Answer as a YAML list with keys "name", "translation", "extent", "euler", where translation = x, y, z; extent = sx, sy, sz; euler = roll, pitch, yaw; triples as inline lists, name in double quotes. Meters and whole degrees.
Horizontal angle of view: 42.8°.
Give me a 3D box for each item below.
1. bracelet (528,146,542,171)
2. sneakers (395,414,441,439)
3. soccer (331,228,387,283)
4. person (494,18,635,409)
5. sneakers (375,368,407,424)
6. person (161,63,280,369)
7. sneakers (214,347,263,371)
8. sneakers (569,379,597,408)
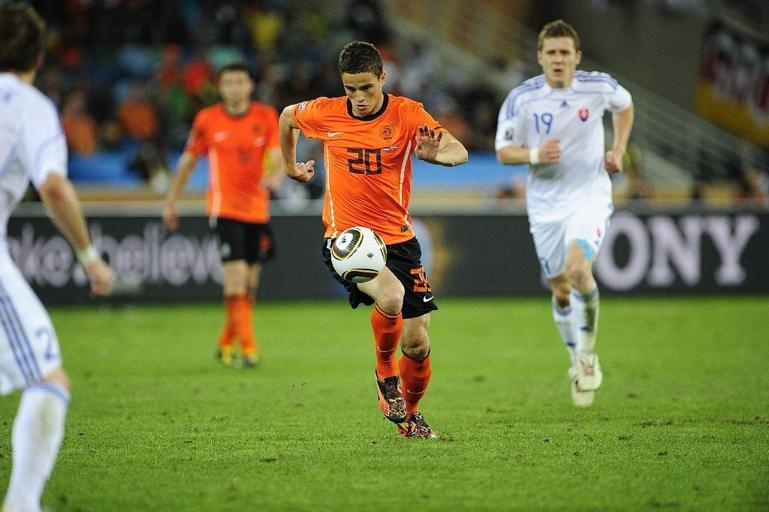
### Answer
- name: "bracelet"
  translation: [1.287, -0.827, 8.314]
  extent: [0.140, 0.163, 0.149]
  euler: [-2, 5, -11]
- name: "sneakers"
  translation: [0.255, 1.351, 7.700]
  extent: [0.321, 0.179, 0.137]
  euler: [1, -2, 8]
- name: "soccer"
  translation: [-0.182, -0.009, 7.712]
  extent: [0.392, 0.447, 0.401]
  euler: [0, -6, 9]
- name: "person"
  translation: [1.533, -0.413, 8.465]
  extent: [1.026, 3.175, 0.994]
  euler: [2, 8, 22]
- name: "sneakers"
  translation: [0.033, 1.132, 7.799]
  extent: [0.145, 0.453, 0.185]
  euler: [-7, -29, -15]
- name: "person"
  translation: [-1.479, -0.438, 10.147]
  extent: [0.994, 3.071, 1.033]
  euler: [-5, 9, -30]
- name: "sneakers"
  translation: [-1.509, 1.062, 9.963]
  extent: [0.481, 0.214, 0.218]
  euler: [18, 12, 6]
- name: "sneakers"
  translation: [1.668, 1.191, 8.240]
  extent: [0.169, 0.229, 0.242]
  euler: [-4, -32, 0]
